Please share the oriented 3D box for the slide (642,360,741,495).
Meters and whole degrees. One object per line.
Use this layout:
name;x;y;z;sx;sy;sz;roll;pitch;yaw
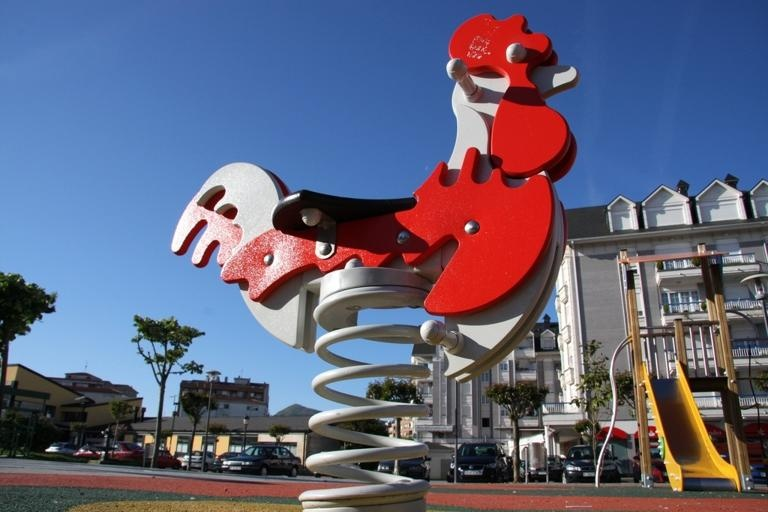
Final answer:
slide;10.355;6.337;22.934;2.636;3.918;3.673;-6;-10;30
